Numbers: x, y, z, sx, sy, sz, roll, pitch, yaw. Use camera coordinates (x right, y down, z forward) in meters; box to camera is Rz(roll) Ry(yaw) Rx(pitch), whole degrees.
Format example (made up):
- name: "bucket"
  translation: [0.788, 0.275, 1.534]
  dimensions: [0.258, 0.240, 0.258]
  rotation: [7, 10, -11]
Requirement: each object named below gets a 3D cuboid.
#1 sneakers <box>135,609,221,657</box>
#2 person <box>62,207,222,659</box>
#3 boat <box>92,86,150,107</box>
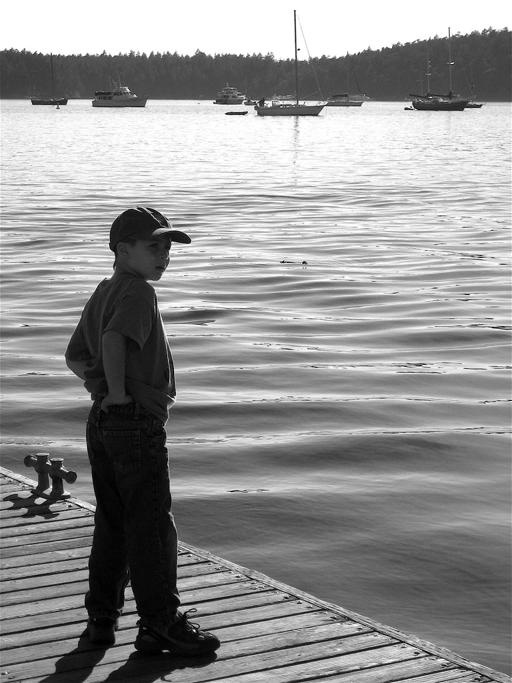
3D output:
- name: "sneakers"
  translation: [-0.263, 1.004, 3.627]
  dimensions: [0.310, 0.173, 0.120]
  rotation: [2, -3, 1]
- name: "person"
  translation: [-0.402, 0.306, 3.643]
  dimensions: [0.438, 1.493, 0.618]
  rotation: [-3, 12, -16]
- name: "boat"
  translation: [-15.796, -28.823, 124.153]
  dimensions: [6.333, 2.049, 4.038]
  rotation: [6, 13, 25]
